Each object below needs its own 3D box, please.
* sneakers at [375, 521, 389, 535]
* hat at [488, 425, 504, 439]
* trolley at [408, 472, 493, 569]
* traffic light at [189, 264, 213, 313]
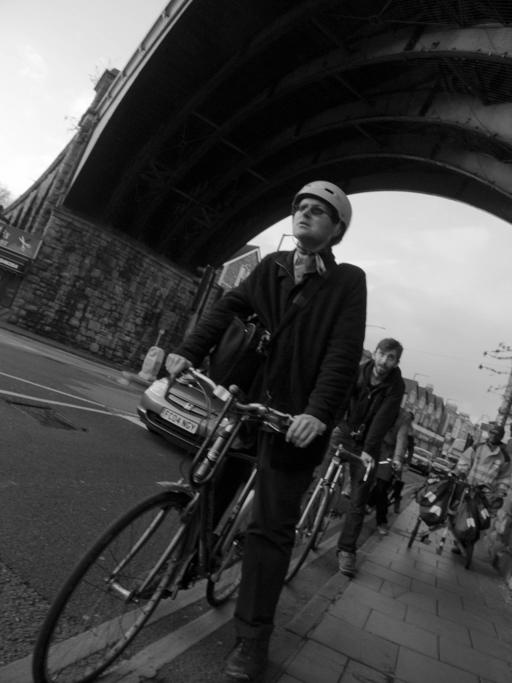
[{"bbox_3d":[1.736,2.546,6.653,0.100,0.154,0.227,-2,-33,12],"label":"sneakers"},{"bbox_3d":[3.300,1.219,6.669,0.149,0.121,0.217,1,-20,35],"label":"hat"},{"bbox_3d":[2.663,2.310,6.381,0.783,0.972,0.818,23,3,-28],"label":"trolley"},{"bbox_3d":[-2.697,-2.646,24.418,0.663,2.817,0.555,24,16,-9],"label":"traffic light"}]
